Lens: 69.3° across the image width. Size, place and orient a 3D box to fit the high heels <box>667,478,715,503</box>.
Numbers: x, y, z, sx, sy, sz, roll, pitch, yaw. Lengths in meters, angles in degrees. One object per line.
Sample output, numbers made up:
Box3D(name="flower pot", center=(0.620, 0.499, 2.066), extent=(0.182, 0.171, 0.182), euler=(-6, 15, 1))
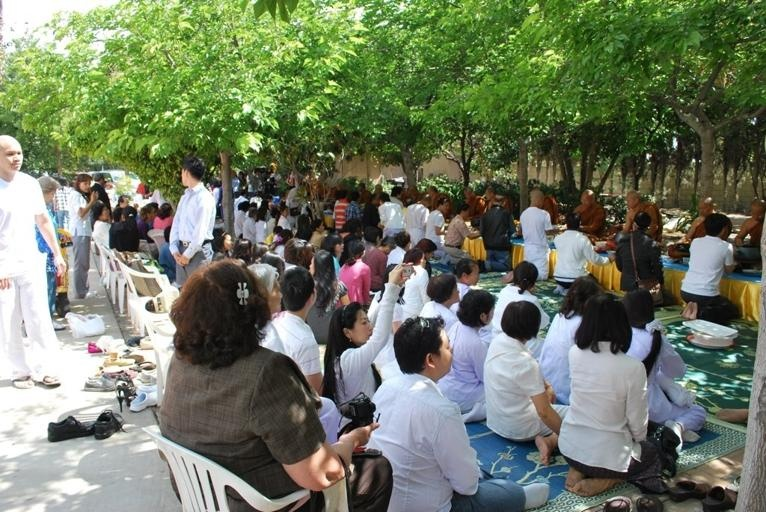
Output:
Box3D(name="high heels", center=(2.694, 2.072, 4.905), extent=(0.329, 0.116, 0.178), euler=(-10, 14, -15))

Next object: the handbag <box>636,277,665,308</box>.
Box3D(name="handbag", center=(3.643, 0.475, 7.589), extent=(0.325, 0.431, 0.142), euler=(-25, 7, 13))

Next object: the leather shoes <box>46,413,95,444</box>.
Box3D(name="leather shoes", center=(-3.187, 1.771, 5.730), extent=(0.480, 0.212, 0.224), euler=(-3, 3, -25))

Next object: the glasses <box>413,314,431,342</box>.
Box3D(name="glasses", center=(0.312, 0.574, 4.371), extent=(0.175, 0.164, 0.137), euler=(-14, 7, -13))

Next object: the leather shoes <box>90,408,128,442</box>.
Box3D(name="leather shoes", center=(-2.834, 1.732, 5.702), extent=(0.231, 0.167, 0.272), euler=(2, 13, 4))

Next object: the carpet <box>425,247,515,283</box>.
Box3D(name="carpet", center=(1.862, 0.025, 11.914), extent=(1.365, 0.407, 0.916), euler=(7, 12, 38))

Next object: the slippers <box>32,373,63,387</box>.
Box3D(name="slippers", center=(-3.994, 1.482, 6.598), extent=(0.313, 0.126, 0.124), euler=(-1, 2, 2))

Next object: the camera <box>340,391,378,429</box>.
Box3D(name="camera", center=(-0.202, 1.239, 4.423), extent=(0.251, 0.302, 0.305), euler=(18, 15, -3))

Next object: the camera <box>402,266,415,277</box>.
Box3D(name="camera", center=(0.333, 0.179, 6.475), extent=(0.126, 0.122, 0.228), euler=(0, -4, 9))
